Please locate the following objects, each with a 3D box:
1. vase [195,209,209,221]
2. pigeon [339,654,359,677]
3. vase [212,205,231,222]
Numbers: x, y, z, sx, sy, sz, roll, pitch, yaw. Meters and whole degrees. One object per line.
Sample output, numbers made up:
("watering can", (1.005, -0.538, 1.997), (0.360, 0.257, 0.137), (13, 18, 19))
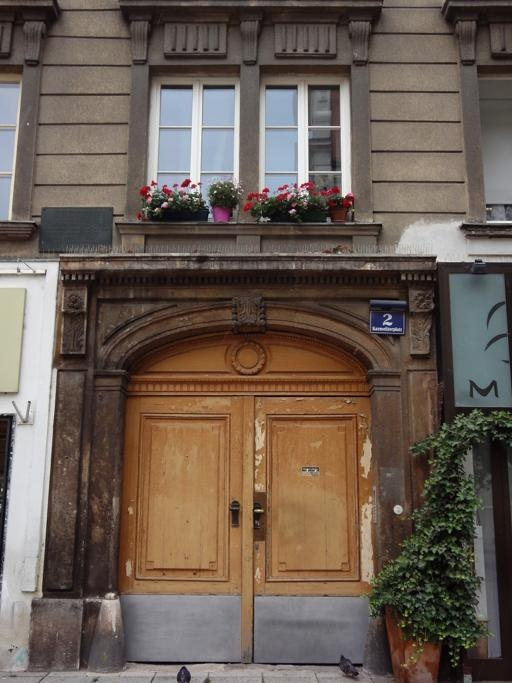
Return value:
("vase", (-0.504, -1.169, 6.818), (0.098, 0.096, 0.115), (-2, 2, -2))
("pigeon", (0.735, 2.548, 5.745), (0.137, 0.160, 0.241), (-2, -12, 10))
("vase", (-0.317, -1.178, 6.782), (0.128, 0.120, 0.148), (0, -1, -6))
